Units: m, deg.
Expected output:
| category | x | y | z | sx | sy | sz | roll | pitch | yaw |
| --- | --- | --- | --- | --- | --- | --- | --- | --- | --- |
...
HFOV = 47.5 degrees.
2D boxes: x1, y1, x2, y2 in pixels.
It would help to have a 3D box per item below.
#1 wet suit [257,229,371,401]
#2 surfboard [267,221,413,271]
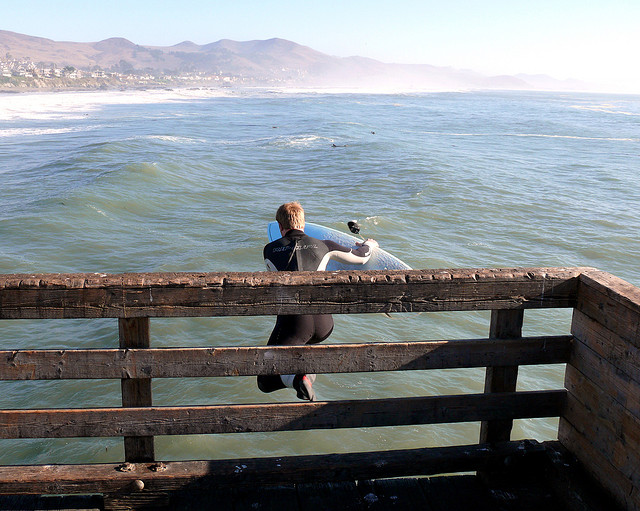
| category | x | y | z | sx | sy | sz | roll | pitch | yaw |
| --- | --- | --- | --- | --- | --- | --- | --- | --- | --- |
| wet suit | -0.100 | 0.546 | 6.431 | 0.942 | 1.489 | 1.427 | 4 | 20 | 5 |
| surfboard | 0.283 | -0.135 | 7.634 | 1.894 | 0.399 | 0.198 | 10 | -33 | -31 |
